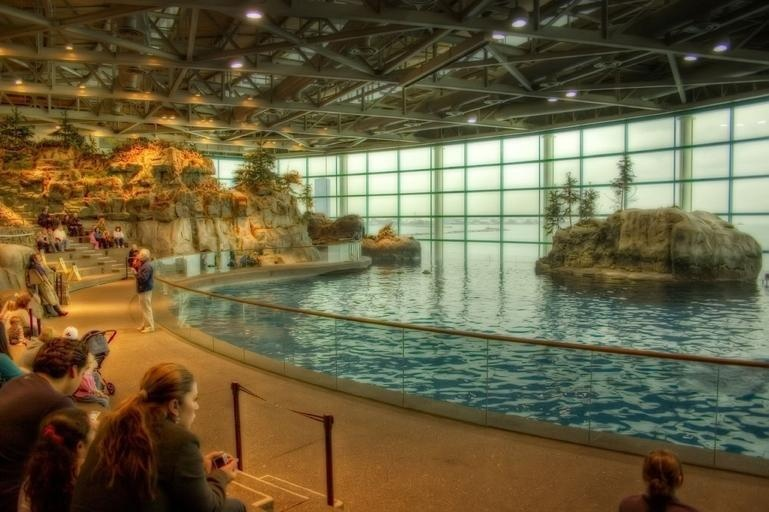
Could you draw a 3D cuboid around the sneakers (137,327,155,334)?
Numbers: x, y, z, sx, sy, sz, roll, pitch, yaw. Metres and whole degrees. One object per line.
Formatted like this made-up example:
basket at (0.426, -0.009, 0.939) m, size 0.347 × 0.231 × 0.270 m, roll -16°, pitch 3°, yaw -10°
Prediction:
sneakers at (-6.584, 2.043, 14.097) m, size 0.152 × 0.119 × 0.388 m, roll 0°, pitch -6°, yaw 24°
